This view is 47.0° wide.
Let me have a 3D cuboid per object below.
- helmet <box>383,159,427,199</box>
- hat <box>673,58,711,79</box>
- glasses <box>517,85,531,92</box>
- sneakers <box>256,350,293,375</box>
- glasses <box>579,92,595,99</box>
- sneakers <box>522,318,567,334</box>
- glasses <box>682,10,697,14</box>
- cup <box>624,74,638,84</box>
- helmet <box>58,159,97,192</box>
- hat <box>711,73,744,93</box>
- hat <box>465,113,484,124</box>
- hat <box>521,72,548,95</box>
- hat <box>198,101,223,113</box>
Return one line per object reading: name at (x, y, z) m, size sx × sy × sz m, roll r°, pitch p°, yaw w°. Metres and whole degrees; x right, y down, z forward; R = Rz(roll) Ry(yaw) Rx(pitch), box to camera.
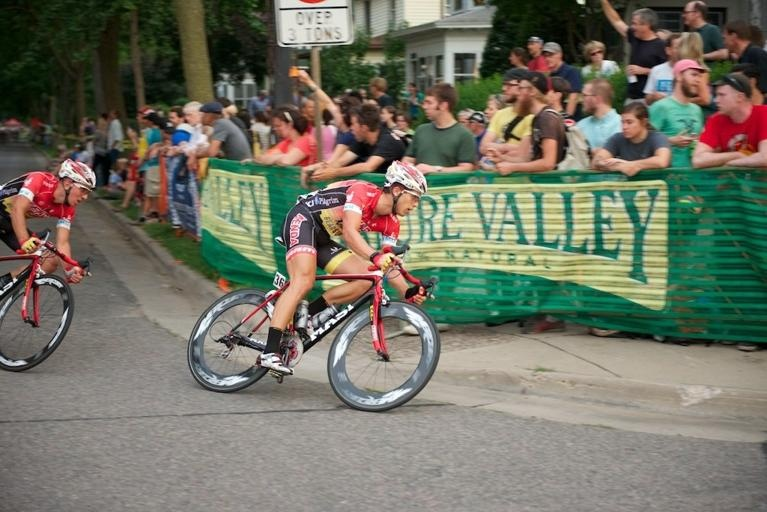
helmet at (0.272, -0.718, 8.114) m, size 0.468 × 0.190 × 0.315 m, roll 28°, pitch 28°, yaw 11°
hat at (3.410, -2.083, 9.787) m, size 0.369 × 0.121 × 0.249 m, roll 6°, pitch 17°, yaw 40°
glasses at (1.553, -1.841, 9.701) m, size 0.128 × 0.106 × 0.039 m, roll 12°, pitch 22°, yaw 42°
sneakers at (-1.016, 0.997, 8.222) m, size 0.473 × 0.142 × 0.159 m, roll 16°, pitch 0°, yaw 17°
glasses at (2.371, -1.848, 10.194) m, size 0.054 × 0.079 × 0.157 m, roll -6°, pitch 14°, yaw -15°
sneakers at (1.783, 0.771, 9.719) m, size 0.374 × 0.083 × 0.226 m, roll 0°, pitch 1°, yaw -13°
glasses at (4.015, -3.179, 11.545) m, size 0.103 × 0.051 × 0.489 m, roll 2°, pitch 12°, yaw 14°
cup at (3.339, -2.372, 11.835) m, size 0.152 × 0.102 × 0.112 m, roll 6°, pitch -24°, yaw -13°
helmet at (-3.283, -0.862, 9.432) m, size 0.512 × 0.212 × 0.311 m, roll 22°, pitch 14°, yaw 5°
hat at (3.528, -1.765, 9.042) m, size 0.174 × 0.168 × 0.279 m, roll -11°, pitch 17°, yaw -34°
hat at (1.303, -1.897, 12.146) m, size 0.236 × 0.140 × 0.412 m, roll 0°, pitch 12°, yaw 5°
hat at (1.712, -1.897, 9.733) m, size 0.243 × 0.239 × 0.157 m, roll -13°, pitch 20°, yaw -37°
hat at (-2.691, -2.319, 13.911) m, size 0.351 × 0.177 × 0.348 m, roll -3°, pitch 13°, yaw -10°
